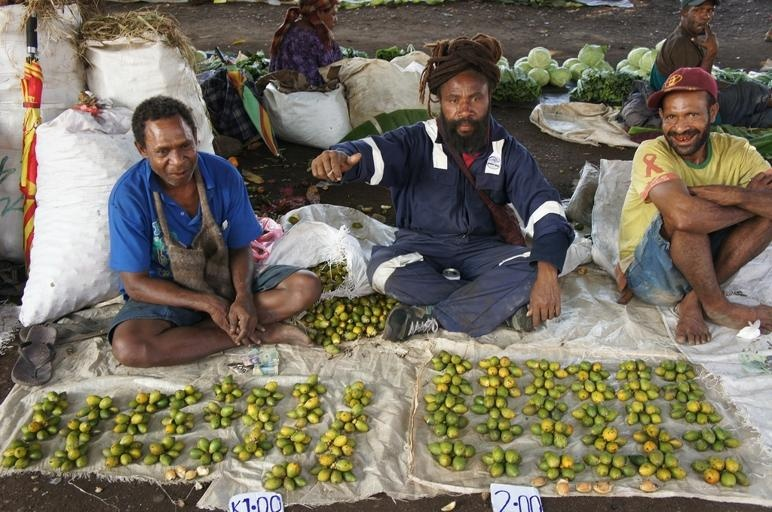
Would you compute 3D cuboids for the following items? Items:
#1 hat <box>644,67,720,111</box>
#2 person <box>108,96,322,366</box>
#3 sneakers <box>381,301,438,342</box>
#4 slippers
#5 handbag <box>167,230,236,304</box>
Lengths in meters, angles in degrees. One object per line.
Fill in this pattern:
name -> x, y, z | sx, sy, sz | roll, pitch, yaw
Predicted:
hat -> 2.384, -1.330, 4.891 | 0.490, 0.328, 0.260 | 12, 37, 16
person -> -1.446, -0.176, 4.568 | 1.487, 1.786, 1.000 | -10, 37, -14
sneakers -> 0.201, 0.523, 4.913 | 0.478, 0.260, 0.154 | -12, 37, -17
slippers -> -2.540, 0.736, 4.743 | 0.655, 0.436, 0.397 | 3, -4, -11
handbag -> -1.412, 0.081, 4.708 | 0.507, 0.541, 0.321 | 3, 1, -20
